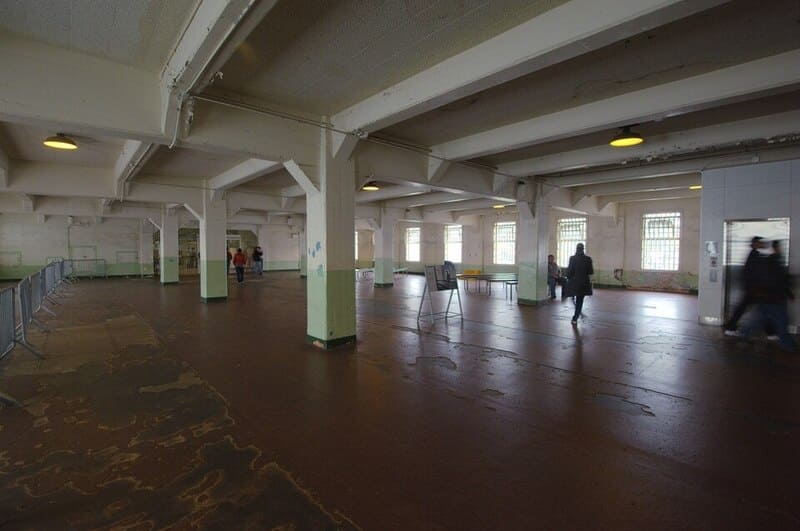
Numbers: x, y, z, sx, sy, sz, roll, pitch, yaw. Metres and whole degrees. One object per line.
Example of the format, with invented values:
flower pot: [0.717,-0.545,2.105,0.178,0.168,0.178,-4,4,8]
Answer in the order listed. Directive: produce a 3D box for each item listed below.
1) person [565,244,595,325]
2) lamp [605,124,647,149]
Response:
person: [4.380,0.441,11.459,0.579,2.035,1.129,5,13,21]
lamp: [4.380,-2.456,9.095,0.710,0.357,0.702,-1,1,16]
